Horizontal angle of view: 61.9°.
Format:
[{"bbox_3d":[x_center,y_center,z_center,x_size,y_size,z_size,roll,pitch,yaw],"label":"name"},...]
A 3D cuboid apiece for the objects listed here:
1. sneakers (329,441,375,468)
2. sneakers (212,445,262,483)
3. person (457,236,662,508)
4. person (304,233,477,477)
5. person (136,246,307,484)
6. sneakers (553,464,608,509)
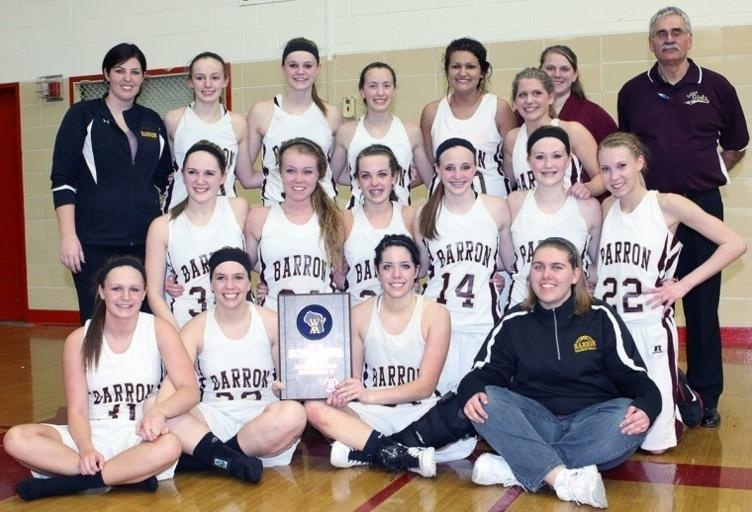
[{"bbox_3d":[-0.160,1.168,3.663,0.120,0.101,0.319,-5,-17,41],"label":"sneakers"},{"bbox_3d":[-0.776,1.172,3.569,0.267,0.144,0.108,20,17,30],"label":"sneakers"},{"bbox_3d":[1.013,0.596,3.532,1.077,1.338,0.735,1,8,23],"label":"person"},{"bbox_3d":[0.118,0.598,3.770,1.044,1.274,1.102,-8,12,-34],"label":"person"},{"bbox_3d":[-0.894,0.653,3.769,1.065,1.237,0.947,-5,7,-30],"label":"person"},{"bbox_3d":[1.047,1.190,3.226,0.228,0.217,0.102,-1,-4,32],"label":"sneakers"}]
